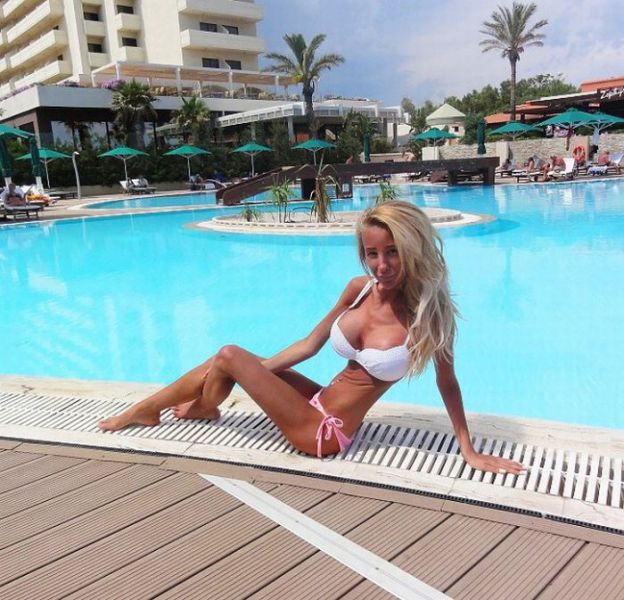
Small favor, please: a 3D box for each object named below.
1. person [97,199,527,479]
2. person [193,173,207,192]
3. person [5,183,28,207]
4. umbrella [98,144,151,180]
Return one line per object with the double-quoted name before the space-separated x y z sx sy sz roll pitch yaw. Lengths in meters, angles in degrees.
"person" -0.007 0.181 2.295 2.214 1.140 0.544 2 7 15
"person" -7.374 -7.358 30.137 0.830 1.279 1.300 -8 14 -36
"person" -11.050 -3.773 17.414 0.709 0.821 2.433 -9 13 -30
"umbrella" -11.303 -8.311 28.346 2.476 2.074 3.501 -6 11 -19
